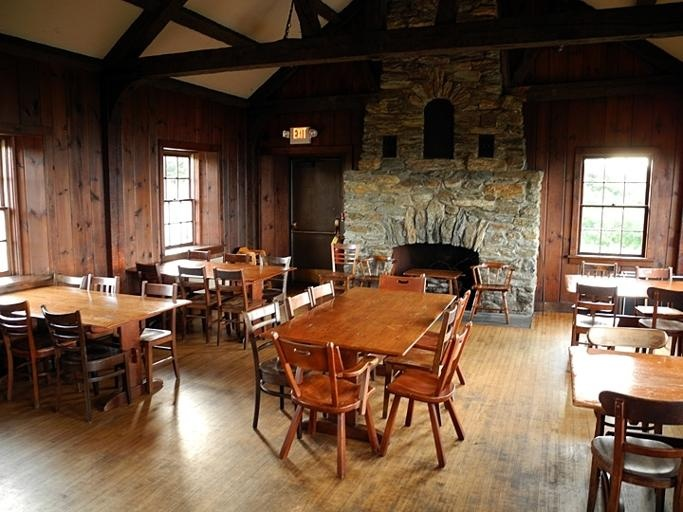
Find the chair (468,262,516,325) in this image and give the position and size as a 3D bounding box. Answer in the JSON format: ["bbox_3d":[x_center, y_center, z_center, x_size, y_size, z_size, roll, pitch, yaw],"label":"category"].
[{"bbox_3d":[2.363,0.558,7.440,0.602,0.895,0.768,0,4,18],"label":"chair"}]

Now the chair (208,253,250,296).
[{"bbox_3d":[-1.705,0.244,7.406,0.562,0.506,0.353,2,2,17],"label":"chair"}]

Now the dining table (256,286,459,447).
[{"bbox_3d":[0.225,0.593,4.264,1.176,0.904,2.118,3,9,22],"label":"dining table"}]

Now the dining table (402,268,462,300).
[{"bbox_3d":[1.502,0.391,7.696,0.696,0.584,0.492,1,1,15],"label":"dining table"}]

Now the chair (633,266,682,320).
[{"bbox_3d":[3.858,0.477,5.837,0.512,0.831,0.566,4,25,27],"label":"chair"}]

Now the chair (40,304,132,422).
[{"bbox_3d":[-2.493,0.972,4.674,0.661,1.033,0.895,-4,5,-31],"label":"chair"}]

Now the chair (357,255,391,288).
[{"bbox_3d":[0.513,0.275,8.052,0.609,0.695,0.533,1,4,10],"label":"chair"}]

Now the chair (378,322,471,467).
[{"bbox_3d":[0.728,1.086,4.085,0.717,1.099,0.812,-1,4,13],"label":"chair"}]

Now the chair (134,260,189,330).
[{"bbox_3d":[-2.501,0.315,6.586,0.395,0.621,0.435,5,9,20],"label":"chair"}]
